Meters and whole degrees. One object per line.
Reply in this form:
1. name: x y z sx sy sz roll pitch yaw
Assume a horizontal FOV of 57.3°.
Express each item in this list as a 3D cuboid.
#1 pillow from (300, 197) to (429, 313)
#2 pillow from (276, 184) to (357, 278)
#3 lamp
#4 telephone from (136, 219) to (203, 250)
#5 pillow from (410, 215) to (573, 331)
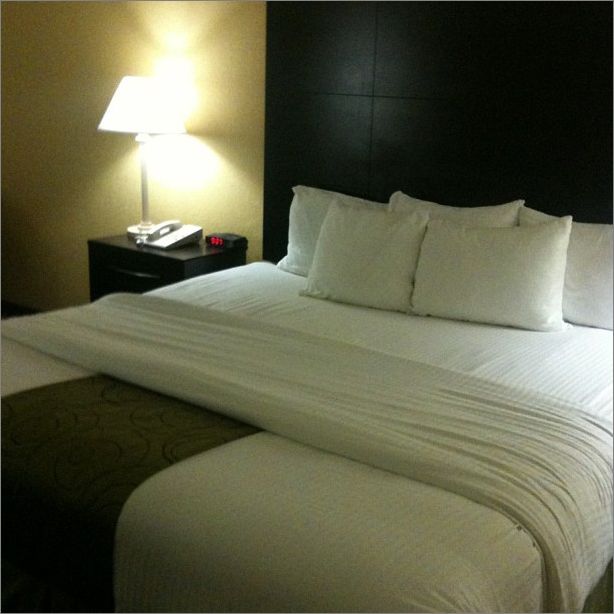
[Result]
1. pillow: 0.225 -0.200 2.196 0.436 0.434 0.134 11 -5 39
2. pillow: 0.053 -0.338 2.477 0.378 0.424 0.133 16 3 42
3. lamp: -0.862 -0.821 3.119 0.425 0.894 0.433 9 11 20
4. telephone: -0.712 -0.379 2.979 0.214 0.100 0.225 -17 20 -37
5. pillow: 0.659 -0.125 2.057 0.555 0.434 0.209 6 -3 30
